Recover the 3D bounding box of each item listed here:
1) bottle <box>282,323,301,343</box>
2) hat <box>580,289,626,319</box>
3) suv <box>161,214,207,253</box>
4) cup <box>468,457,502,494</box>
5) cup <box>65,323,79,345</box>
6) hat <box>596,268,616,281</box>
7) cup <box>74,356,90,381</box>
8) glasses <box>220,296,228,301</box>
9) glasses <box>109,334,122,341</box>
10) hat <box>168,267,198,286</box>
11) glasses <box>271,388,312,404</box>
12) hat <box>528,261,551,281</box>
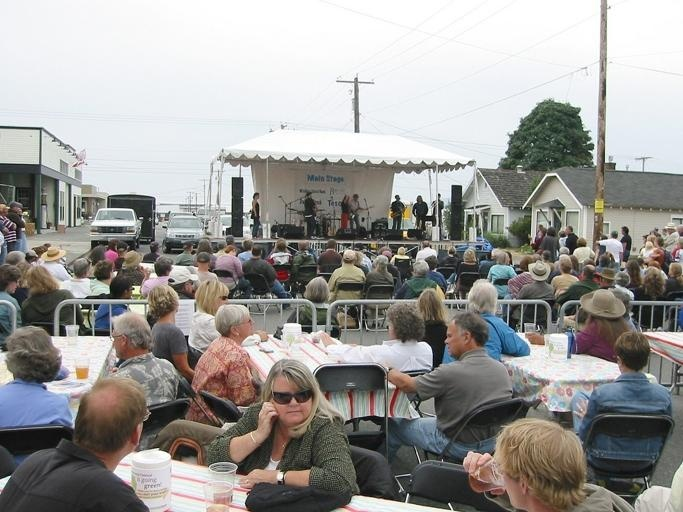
[{"bbox_3d":[-0.432,0.653,7.493,0.150,0.172,0.147,0,2,-14],"label":"bottle"},{"bbox_3d":[2.281,0.406,7.732,0.252,0.112,0.315,-4,28,-7],"label":"hat"},{"bbox_3d":[-4.893,-0.728,26.770,1.437,1.402,3.085,-2,0,-12],"label":"suv"},{"bbox_3d":[0.801,1.243,4.949,0.100,0.121,0.183,1,-6,21],"label":"cup"},{"bbox_3d":[-2.413,0.684,7.695,0.148,0.202,0.163,1,0,3],"label":"cup"},{"bbox_3d":[3.201,0.219,10.447,0.227,0.104,0.257,14,1,18],"label":"hat"},{"bbox_3d":[-1.992,0.849,6.680,0.129,0.222,0.135,0,-6,0],"label":"cup"},{"bbox_3d":[-1.084,0.387,7.938,0.040,0.039,0.049,0,-4,-2],"label":"glasses"},{"bbox_3d":[-1.699,0.605,6.559,0.055,0.053,0.228,1,3,-25],"label":"glasses"},{"bbox_3d":[-1.725,0.232,9.536,0.176,0.155,0.280,6,7,32],"label":"hat"},{"bbox_3d":[-0.302,0.869,5.373,0.245,0.091,0.045,2,2,-4],"label":"glasses"},{"bbox_3d":[2.534,0.207,11.178,0.195,0.097,0.265,0,45,4],"label":"hat"}]
